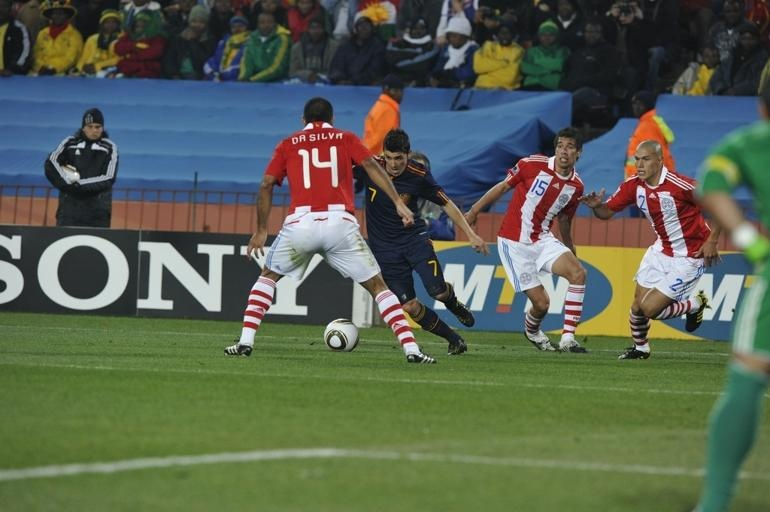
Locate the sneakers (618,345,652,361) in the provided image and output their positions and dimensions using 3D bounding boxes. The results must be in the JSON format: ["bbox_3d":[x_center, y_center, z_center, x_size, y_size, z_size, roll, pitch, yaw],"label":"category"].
[{"bbox_3d":[3.384,1.331,17.160,0.463,0.221,0.173,4,-1,-3],"label":"sneakers"}]

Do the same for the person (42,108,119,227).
[{"bbox_3d":[-4.905,-1.406,20.634,1.077,1.841,0.513,-2,15,-13],"label":"person"}]

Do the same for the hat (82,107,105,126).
[{"bbox_3d":[-4.756,-2.279,20.673,0.339,0.299,0.360,7,-15,-43],"label":"hat"}]

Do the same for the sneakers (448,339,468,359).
[{"bbox_3d":[0.959,1.242,16.887,0.353,0.167,0.120,-26,-2,4],"label":"sneakers"}]

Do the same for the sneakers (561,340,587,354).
[{"bbox_3d":[2.589,1.280,17.595,0.183,0.131,0.284,3,-8,-1],"label":"sneakers"}]

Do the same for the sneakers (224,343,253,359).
[{"bbox_3d":[-1.887,1.204,16.012,0.399,0.176,0.149,3,6,10],"label":"sneakers"}]

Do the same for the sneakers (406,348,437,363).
[{"bbox_3d":[0.487,1.268,15.942,0.438,0.189,0.149,0,5,-6],"label":"sneakers"}]
